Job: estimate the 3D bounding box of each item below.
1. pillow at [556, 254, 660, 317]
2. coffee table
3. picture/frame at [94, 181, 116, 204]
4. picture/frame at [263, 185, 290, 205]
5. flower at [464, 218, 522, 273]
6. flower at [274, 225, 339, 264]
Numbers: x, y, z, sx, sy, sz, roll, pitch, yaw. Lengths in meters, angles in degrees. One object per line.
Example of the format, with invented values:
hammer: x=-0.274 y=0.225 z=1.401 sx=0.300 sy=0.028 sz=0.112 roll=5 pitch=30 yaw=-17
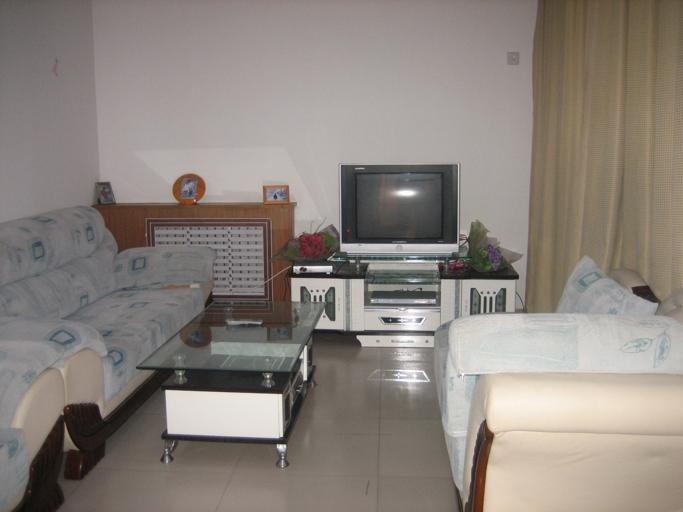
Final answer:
pillow: x=1.138 y=0.178 z=2.226 sx=0.076 sy=0.257 sz=0.264 roll=27 pitch=21 yaw=-11
coffee table: x=-0.569 y=0.691 z=2.895 sx=0.779 sy=0.514 sz=0.913 roll=1 pitch=13 yaw=7
picture/frame: x=-2.230 y=-0.592 z=4.751 sx=0.040 sy=0.187 sz=0.159 roll=-10 pitch=14 yaw=29
picture/frame: x=-0.595 y=-0.550 z=4.601 sx=0.175 sy=0.145 sz=0.015 roll=0 pitch=-4 yaw=-2
flower: x=1.172 y=-0.015 z=3.950 sx=0.358 sy=0.247 sz=0.500 roll=21 pitch=5 yaw=-12
flower: x=-0.218 y=-0.105 z=4.186 sx=0.600 sy=0.194 sz=0.446 roll=-10 pitch=16 yaw=-35
